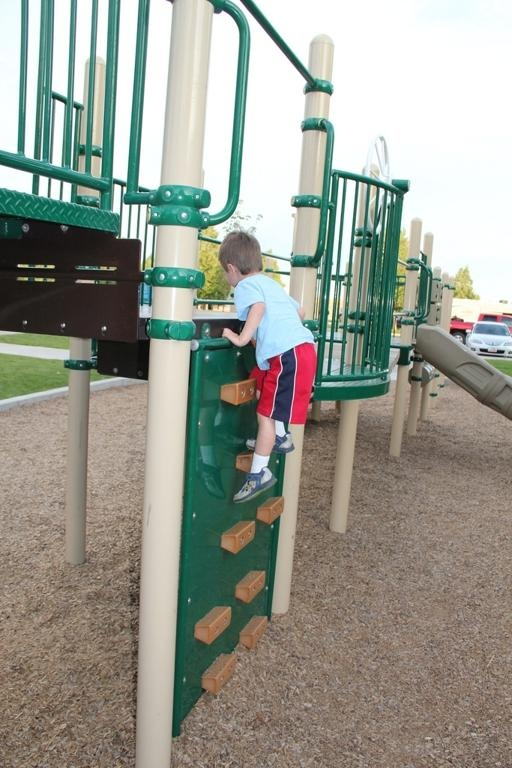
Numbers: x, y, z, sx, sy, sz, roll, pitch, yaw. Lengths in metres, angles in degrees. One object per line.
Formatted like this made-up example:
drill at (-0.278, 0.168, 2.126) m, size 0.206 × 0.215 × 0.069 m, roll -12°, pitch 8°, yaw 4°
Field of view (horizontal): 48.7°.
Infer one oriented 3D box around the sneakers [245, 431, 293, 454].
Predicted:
sneakers at (0.057, 0.231, 2.252) m, size 0.075 × 0.104 × 0.207 m, roll -1°, pitch -7°, yaw 23°

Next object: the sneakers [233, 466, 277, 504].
sneakers at (-0.012, 0.376, 2.134) m, size 0.065 × 0.090 × 0.196 m, roll 26°, pitch 58°, yaw 36°
